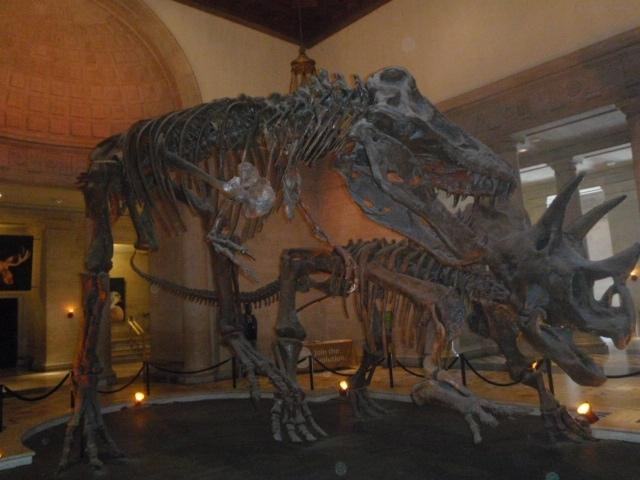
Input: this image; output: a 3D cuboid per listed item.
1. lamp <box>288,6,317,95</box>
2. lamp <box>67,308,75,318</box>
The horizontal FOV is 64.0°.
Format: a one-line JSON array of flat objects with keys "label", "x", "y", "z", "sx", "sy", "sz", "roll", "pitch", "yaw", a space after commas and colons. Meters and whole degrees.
[{"label": "lamp", "x": -0.391, "y": -4.118, "z": 11.276, "sx": 0.650, "sy": 1.764, "sz": 2.031, "roll": -3, "pitch": -5, "yaw": -2}, {"label": "lamp", "x": -5.949, "y": 1.766, "z": 12.206, "sx": 0.055, "sy": 0.226, "sz": 0.173, "roll": -7, "pitch": -6, "yaw": 34}]
